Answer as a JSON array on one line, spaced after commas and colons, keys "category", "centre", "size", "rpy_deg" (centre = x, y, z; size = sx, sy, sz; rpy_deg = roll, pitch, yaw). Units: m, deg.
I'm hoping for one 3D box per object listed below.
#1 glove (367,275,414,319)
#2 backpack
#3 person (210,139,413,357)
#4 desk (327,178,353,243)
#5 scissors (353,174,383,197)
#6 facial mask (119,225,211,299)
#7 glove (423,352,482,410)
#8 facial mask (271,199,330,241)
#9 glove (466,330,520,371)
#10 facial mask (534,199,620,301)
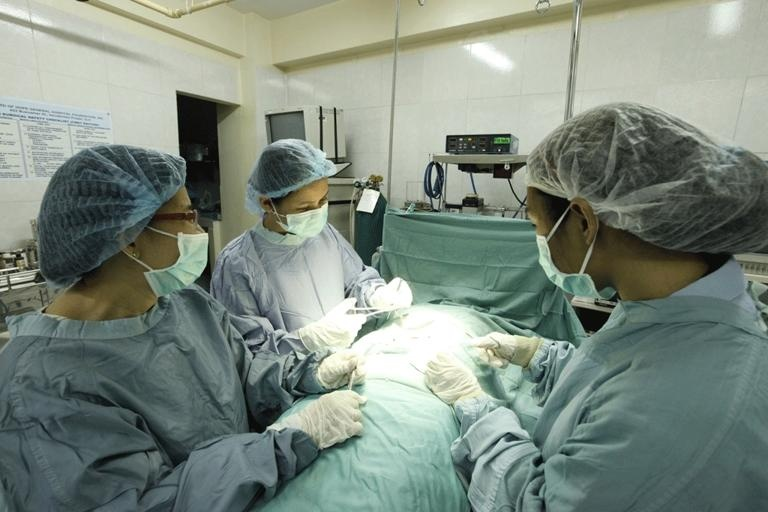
[{"category": "glove", "centre": [0.043, 0.227, 3.113], "size": [0.238, 0.098, 0.140], "rpy_deg": [-20, 55, -33]}, {"category": "backpack", "centre": [-0.255, 0.363, 2.887], "size": [0.283, 0.104, 0.201], "rpy_deg": [-31, 57, 4]}, {"category": "person", "centre": [-0.381, 0.017, 3.315], "size": [0.993, 1.272, 1.279], "rpy_deg": [3, 21, 19]}, {"category": "desk", "centre": [-0.351, -0.377, 4.528], "size": [0.267, 0.497, 0.507], "rpy_deg": [-1, 10, -7]}, {"category": "scissors", "centre": [-0.125, -0.578, 4.601], "size": [0.209, 0.122, 0.167], "rpy_deg": [-12, -12, -10]}, {"category": "facial mask", "centre": [-0.848, 0.041, 2.289], "size": [0.298, 0.191, 0.250], "rpy_deg": [15, 12, -12]}, {"category": "glove", "centre": [0.289, 0.542, 2.569], "size": [0.171, 0.075, 0.223], "rpy_deg": [-29, 58, -17]}, {"category": "facial mask", "centre": [-0.419, -0.203, 2.970], "size": [0.213, 0.125, 0.206], "rpy_deg": [9, 21, 36]}, {"category": "glove", "centre": [0.504, 0.428, 2.652], "size": [0.270, 0.148, 0.182], "rpy_deg": [7, -18, 34]}, {"category": "facial mask", "centre": [0.676, -0.019, 2.198], "size": [0.312, 0.342, 0.183], "rpy_deg": [25, -12, -39]}]
